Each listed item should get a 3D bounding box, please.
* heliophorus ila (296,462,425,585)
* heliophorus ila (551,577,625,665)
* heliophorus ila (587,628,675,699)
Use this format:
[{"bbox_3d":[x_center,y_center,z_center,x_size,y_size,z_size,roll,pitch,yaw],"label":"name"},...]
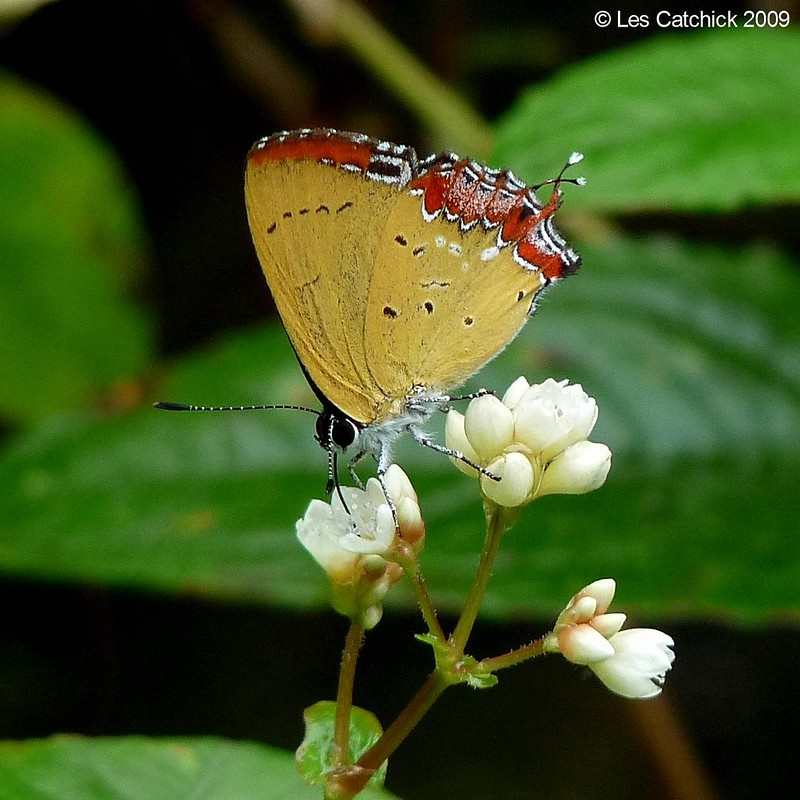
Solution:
[{"bbox_3d":[-0.097,0.295,2.541,0.304,0.170,0.310,1,38,8],"label":"heliophorus ila"},{"bbox_3d":[0.442,0.533,2.355,0.074,0.203,0.175,-20,41,-19],"label":"heliophorus ila"},{"bbox_3d":[0.566,0.618,2.399,0.168,0.113,0.160,21,45,31],"label":"heliophorus ila"}]
